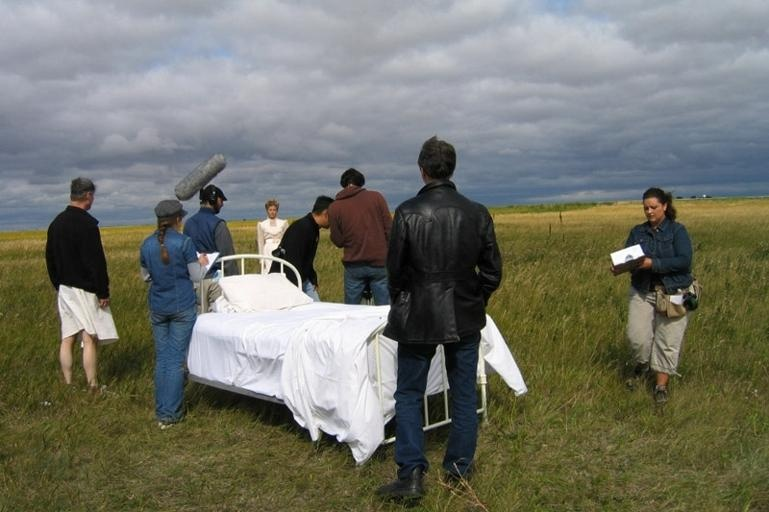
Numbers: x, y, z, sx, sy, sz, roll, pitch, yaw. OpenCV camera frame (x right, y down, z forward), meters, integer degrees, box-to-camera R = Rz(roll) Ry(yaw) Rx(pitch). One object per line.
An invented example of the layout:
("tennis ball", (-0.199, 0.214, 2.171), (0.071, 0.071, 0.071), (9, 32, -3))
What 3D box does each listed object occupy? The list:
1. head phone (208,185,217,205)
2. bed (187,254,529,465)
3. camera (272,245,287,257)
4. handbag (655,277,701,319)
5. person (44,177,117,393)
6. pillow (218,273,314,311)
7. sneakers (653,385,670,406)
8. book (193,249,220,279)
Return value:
("head phone", (-3.114, -1.080, 10.302), (0.106, 0.314, 0.212), (-6, 16, -18))
("bed", (-1.009, 1.355, 8.039), (3.581, 1.808, 2.393), (10, 10, 40))
("camera", (-1.869, -0.078, 10.031), (0.164, 0.171, 0.210), (1, -2, -41))
("handbag", (4.224, 0.646, 8.196), (0.634, 0.499, 0.355), (-2, 10, 8))
("person", (-4.821, 0.450, 8.974), (0.844, 3.249, 0.678), (-8, 11, -25))
("pillow", (-1.920, 0.608, 9.134), (0.775, 0.220, 0.799), (-2, 32, -34))
("sneakers", (4.010, 1.987, 8.272), (0.211, 0.254, 0.215), (-1, 11, 15))
("book", (-2.758, 0.117, 8.725), (0.355, 0.093, 0.387), (-39, 33, 19))
